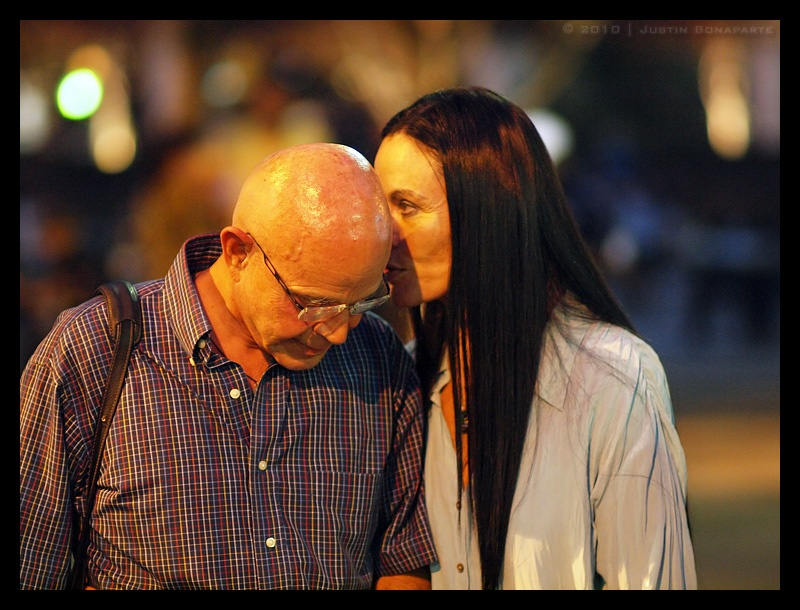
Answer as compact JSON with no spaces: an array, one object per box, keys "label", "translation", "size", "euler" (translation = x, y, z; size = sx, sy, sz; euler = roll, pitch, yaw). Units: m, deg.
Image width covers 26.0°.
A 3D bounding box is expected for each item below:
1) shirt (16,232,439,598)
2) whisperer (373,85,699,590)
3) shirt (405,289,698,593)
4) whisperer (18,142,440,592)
[{"label":"shirt","translation":[-0.757,0.732,7.543],"size":[2.111,1.898,1.015],"euler":[4,-5,-22]},{"label":"whisperer","translation":[0.567,0.055,8.913],"size":[1.694,3.518,2.049],"euler":[-1,3,10]},{"label":"shirt","translation":[0.818,0.613,7.321],"size":[0.812,1.158,0.306],"euler":[-1,-12,9]},{"label":"whisperer","translation":[-0.711,0.295,7.208],"size":[1.718,1.760,0.867],"euler":[1,-13,1]}]
